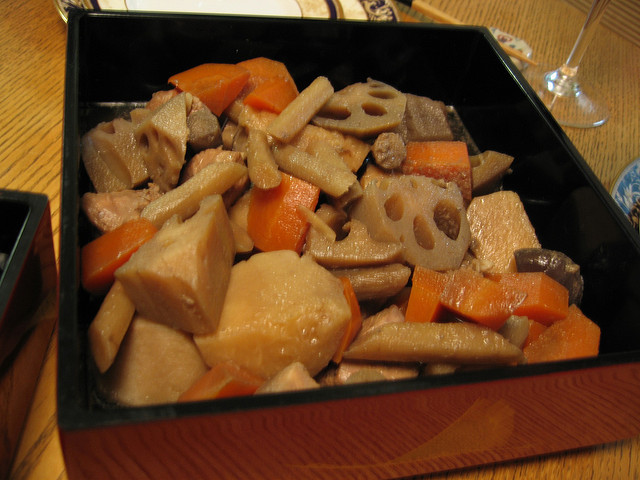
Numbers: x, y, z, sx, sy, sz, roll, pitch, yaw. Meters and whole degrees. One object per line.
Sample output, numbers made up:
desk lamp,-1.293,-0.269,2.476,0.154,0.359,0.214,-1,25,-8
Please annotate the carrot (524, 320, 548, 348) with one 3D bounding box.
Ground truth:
carrot,0.498,0.218,1.381,0.048,0.036,0.058,11,81,34

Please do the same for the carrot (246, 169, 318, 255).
carrot,-0.091,-0.058,1.369,0.154,0.049,0.200,17,84,12

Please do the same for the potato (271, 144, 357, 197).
potato,-0.032,-0.205,1.489,0.363,0.118,0.110,17,95,55

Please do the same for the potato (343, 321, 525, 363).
potato,0.238,0.213,1.288,0.384,0.088,0.115,0,97,12

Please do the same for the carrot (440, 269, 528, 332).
carrot,0.364,0.131,1.342,0.208,0.058,0.140,4,50,-15

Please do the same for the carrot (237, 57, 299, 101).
carrot,-0.136,-0.452,1.728,0.181,0.139,0.186,-4,19,-13

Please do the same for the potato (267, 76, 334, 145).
potato,-0.051,-0.322,1.513,0.068,0.060,0.219,26,68,29

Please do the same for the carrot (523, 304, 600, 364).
carrot,0.559,0.208,1.373,0.120,0.106,0.130,-17,19,11

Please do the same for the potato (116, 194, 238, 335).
potato,-0.263,0.076,1.286,0.247,0.179,0.256,-40,28,4

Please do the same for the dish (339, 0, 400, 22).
dish,0.162,-0.748,1.945,0.119,0.028,0.136,-14,61,-31

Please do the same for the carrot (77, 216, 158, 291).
carrot,-0.443,0.025,1.315,0.165,0.049,0.115,-17,58,-10

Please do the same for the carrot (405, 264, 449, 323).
carrot,0.238,0.127,1.339,0.064,0.068,0.135,14,80,15

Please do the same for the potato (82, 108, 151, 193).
potato,-0.489,-0.217,1.551,0.199,0.065,0.171,-29,77,-6

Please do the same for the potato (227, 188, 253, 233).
potato,-0.183,-0.063,1.409,0.077,0.025,0.083,-41,61,-5

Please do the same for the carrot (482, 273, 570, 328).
carrot,0.493,0.129,1.408,0.136,0.114,0.154,-10,28,-8

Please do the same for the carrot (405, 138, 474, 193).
carrot,0.312,-0.214,1.591,0.149,0.114,0.149,-25,45,-36

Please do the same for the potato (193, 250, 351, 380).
potato,-0.070,0.129,1.331,0.314,0.128,0.317,-2,36,25

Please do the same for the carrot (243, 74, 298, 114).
carrot,-0.121,-0.378,1.543,0.101,0.045,0.098,-9,55,-11

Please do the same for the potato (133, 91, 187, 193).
potato,-0.390,-0.246,1.472,0.104,0.224,0.041,-12,69,12
